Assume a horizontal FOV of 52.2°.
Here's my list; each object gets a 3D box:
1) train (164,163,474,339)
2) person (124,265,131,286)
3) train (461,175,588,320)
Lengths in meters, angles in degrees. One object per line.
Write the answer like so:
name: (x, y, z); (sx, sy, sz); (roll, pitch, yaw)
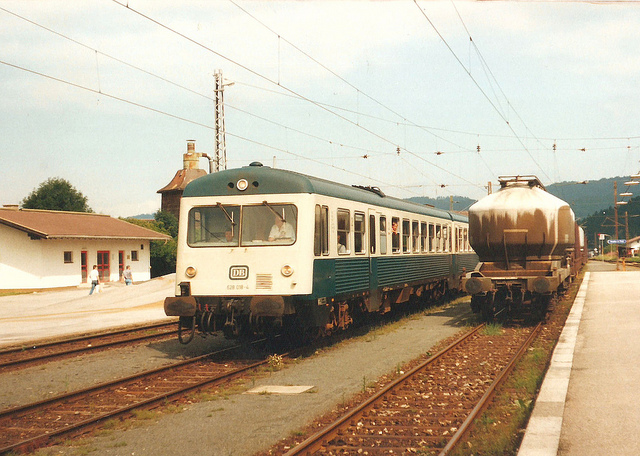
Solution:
train: (1.837, 0.963, 22.978); (3.708, 4.630, 18.789); (-3, -5, 21)
person: (-12.263, 2.965, 41.501); (0.384, 1.128, 1.240); (-2, 3, -17)
train: (6.208, 0.619, 20.056); (2.903, 4.509, 4.230); (0, 3, 24)
